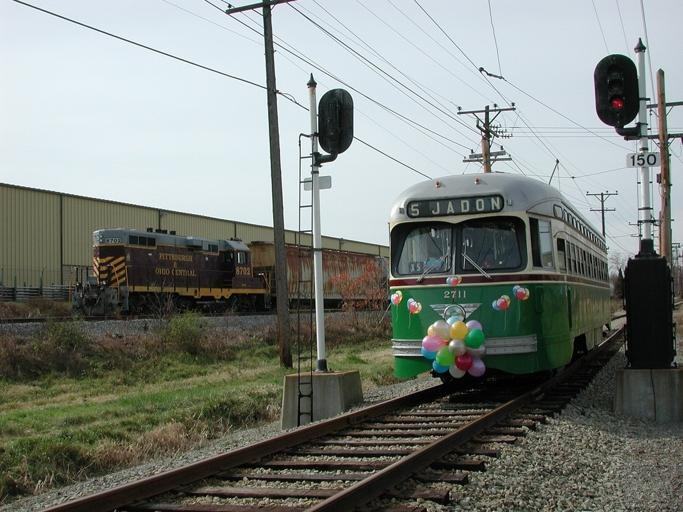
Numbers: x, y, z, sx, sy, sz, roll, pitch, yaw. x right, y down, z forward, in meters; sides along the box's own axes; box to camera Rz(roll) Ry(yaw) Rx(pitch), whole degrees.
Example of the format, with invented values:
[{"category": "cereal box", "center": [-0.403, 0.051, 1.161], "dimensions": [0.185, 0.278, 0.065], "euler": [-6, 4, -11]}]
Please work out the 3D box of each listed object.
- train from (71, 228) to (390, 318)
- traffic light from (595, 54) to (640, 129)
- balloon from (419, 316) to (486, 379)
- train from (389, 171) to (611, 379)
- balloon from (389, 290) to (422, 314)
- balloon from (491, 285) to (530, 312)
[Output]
[{"category": "train", "center": [-8.384, 0.909, 35.061], "dimensions": [13.042, 5.432, 14.916], "euler": [0, -5, 38]}, {"category": "traffic light", "center": [4.627, -2.752, 10.976], "dimensions": [0.680, 1.301, 0.319], "euler": [0, 0, 25]}, {"category": "balloon", "center": [1.911, 1.529, 11.119], "dimensions": [1.021, 0.955, 0.418], "euler": [0, 0, 11]}, {"category": "train", "center": [3.573, 0.356, 12.947], "dimensions": [5.333, 3.425, 2.121], "euler": [0, 0, -44]}, {"category": "balloon", "center": [1.185, 0.829, 11.817], "dimensions": [0.221, 0.365, 0.716], "euler": [8, 15, -44]}, {"category": "balloon", "center": [2.927, 0.703, 11.355], "dimensions": [0.612, 0.339, 0.255], "euler": [-30, -6, 11]}]
